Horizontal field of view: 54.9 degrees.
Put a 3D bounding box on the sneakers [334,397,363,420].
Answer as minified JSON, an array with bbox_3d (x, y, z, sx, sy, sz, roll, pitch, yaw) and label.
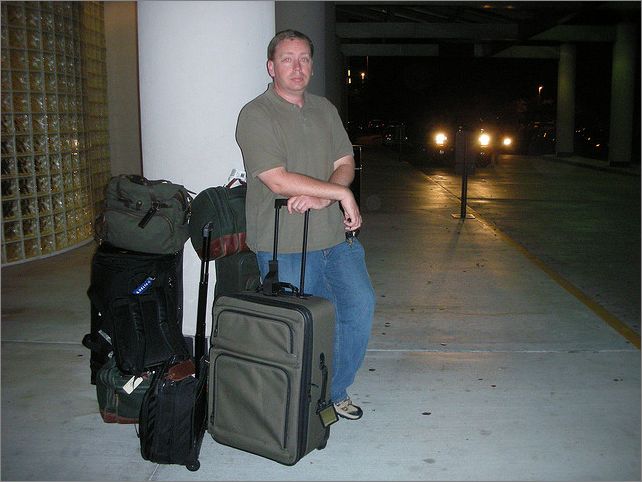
[{"bbox_3d":[0.151,1.177,4.353,0.268,0.122,0.104,2,5,22],"label":"sneakers"}]

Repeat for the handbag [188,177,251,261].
[{"bbox_3d":[-0.670,-0.135,4.191,0.303,0.545,0.531,19,15,19],"label":"handbag"}]

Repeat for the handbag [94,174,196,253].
[{"bbox_3d":[-1.237,-0.223,4.465,0.873,0.585,0.506,8,14,4],"label":"handbag"}]

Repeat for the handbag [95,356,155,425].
[{"bbox_3d":[-1.338,1.034,4.356,0.438,0.383,0.401,2,-1,-9],"label":"handbag"}]

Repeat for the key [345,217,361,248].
[{"bbox_3d":[0.208,-0.052,4.050,0.076,0.162,0.102,3,29,-2],"label":"key"}]

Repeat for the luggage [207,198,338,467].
[{"bbox_3d":[-0.296,0.766,3.760,0.700,1.249,0.488,8,17,30],"label":"luggage"}]
